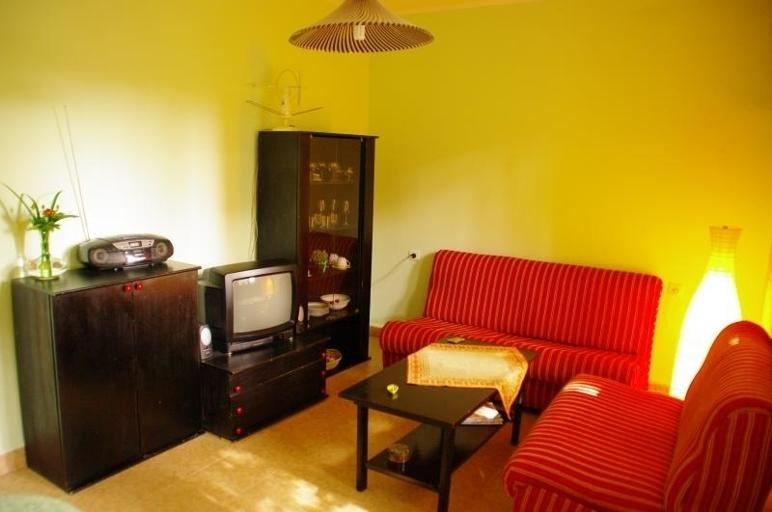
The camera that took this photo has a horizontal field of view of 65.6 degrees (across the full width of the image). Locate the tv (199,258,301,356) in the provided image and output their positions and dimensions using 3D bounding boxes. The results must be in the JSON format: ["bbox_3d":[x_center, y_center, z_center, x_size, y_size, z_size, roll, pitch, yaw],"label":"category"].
[{"bbox_3d":[-0.985,0.286,4.597,0.581,0.775,0.858,6,10,38],"label":"tv"}]

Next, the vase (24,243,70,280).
[{"bbox_3d":[-2.141,0.036,3.771,0.182,0.176,0.183,8,14,31],"label":"vase"}]

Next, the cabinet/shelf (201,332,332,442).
[{"bbox_3d":[-0.945,0.959,4.548,0.480,0.454,0.912,5,12,40],"label":"cabinet/shelf"}]

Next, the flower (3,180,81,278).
[{"bbox_3d":[-2.162,-0.166,3.735,0.523,0.706,0.536,-2,6,-24],"label":"flower"}]

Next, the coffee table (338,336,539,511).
[{"bbox_3d":[0.240,0.748,3.759,0.730,0.661,1.354,4,8,29],"label":"coffee table"}]
